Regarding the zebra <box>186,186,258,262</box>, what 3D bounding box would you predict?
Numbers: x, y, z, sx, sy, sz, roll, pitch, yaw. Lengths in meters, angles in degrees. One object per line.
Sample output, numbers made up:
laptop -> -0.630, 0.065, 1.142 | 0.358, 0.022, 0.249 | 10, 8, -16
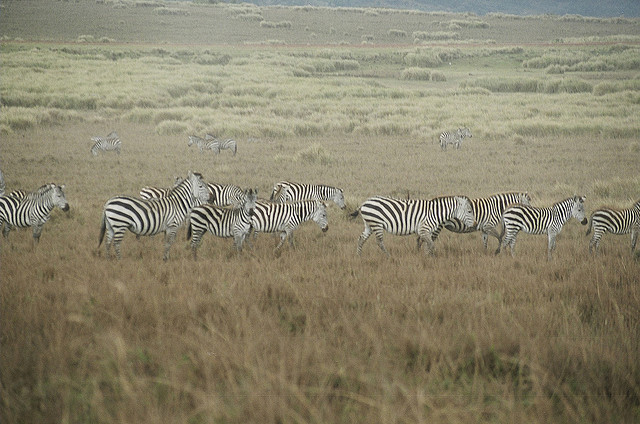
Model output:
zebra -> -1.951, 0.236, 18.534 | 1.515, 1.433, 0.500 | 1, 2, 9

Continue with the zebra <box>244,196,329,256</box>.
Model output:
zebra -> -0.784, 0.264, 18.954 | 1.908, 1.236, 0.568 | 4, 22, -1

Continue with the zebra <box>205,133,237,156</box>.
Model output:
zebra -> -2.416, -1.696, 22.499 | 0.836, 0.340, 0.448 | 9, 23, 13

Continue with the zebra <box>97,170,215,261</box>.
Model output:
zebra -> -3.359, 0.143, 18.363 | 2.159, 1.661, 0.697 | -5, 23, -20

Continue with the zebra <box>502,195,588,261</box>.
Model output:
zebra -> 4.646, 0.371, 18.787 | 1.154, 1.137, 0.397 | 1, -4, 4
